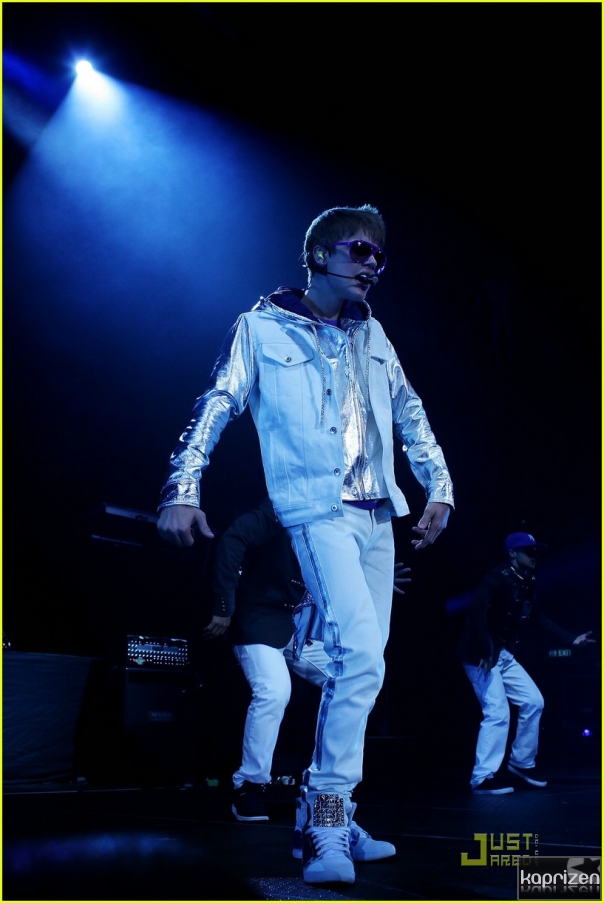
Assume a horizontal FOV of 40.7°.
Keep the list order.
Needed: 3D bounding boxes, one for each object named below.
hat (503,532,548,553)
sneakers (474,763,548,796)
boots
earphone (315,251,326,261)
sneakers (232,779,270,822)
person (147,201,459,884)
[{"bbox_3d":[1.078,0.427,4.020,0.132,0.068,0.095,-19,1,9],"label":"hat"},{"bbox_3d":[0.932,1.459,3.623,0.332,0.132,0.122,6,-24,-12],"label":"sneakers"},{"bbox_3d":[0.103,0.935,1.973,0.136,0.165,0.405,1,-22,-5],"label":"boots"},{"bbox_3d":[0.053,-0.587,2.443,0.026,0.029,0.011,14,12,27],"label":"earphone"},{"bbox_3d":[-0.192,1.302,3.034,0.089,0.189,0.266,4,-19,-2],"label":"sneakers"},{"bbox_3d":[0.052,0.128,2.292,0.676,1.868,0.707,6,-11,16],"label":"person"}]
